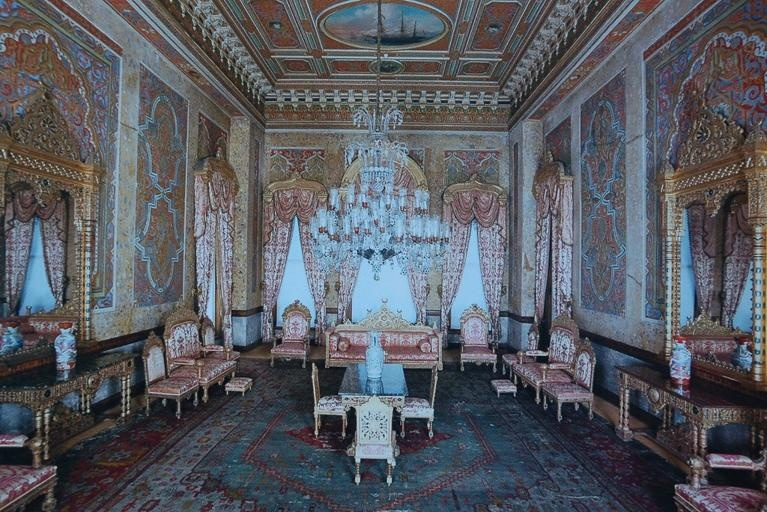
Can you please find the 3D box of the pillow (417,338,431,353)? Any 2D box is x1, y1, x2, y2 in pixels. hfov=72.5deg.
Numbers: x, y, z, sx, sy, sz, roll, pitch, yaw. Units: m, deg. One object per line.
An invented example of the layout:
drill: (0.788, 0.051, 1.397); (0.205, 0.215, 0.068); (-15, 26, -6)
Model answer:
pillow: (0.958, 2.086, 12.315); (0.299, 0.307, 0.338); (0, -4, -7)

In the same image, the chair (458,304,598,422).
chair: (3.296, 2.076, 10.533); (1.574, 1.962, 2.127); (0, -4, -1)

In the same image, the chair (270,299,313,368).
chair: (-2.239, 1.838, 12.553); (0.873, 1.542, 0.760); (0, -3, -6)

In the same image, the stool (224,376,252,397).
stool: (-2.890, 2.558, 10.409); (0.325, 0.239, 0.463); (0, -1, 1)

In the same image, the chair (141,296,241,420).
chair: (-3.875, 2.057, 10.327); (0.657, 1.494, 2.106); (0, -1, 3)

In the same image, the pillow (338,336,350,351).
pillow: (-0.957, 2.063, 12.340); (0.293, 0.390, 0.854); (1, -2, 1)
